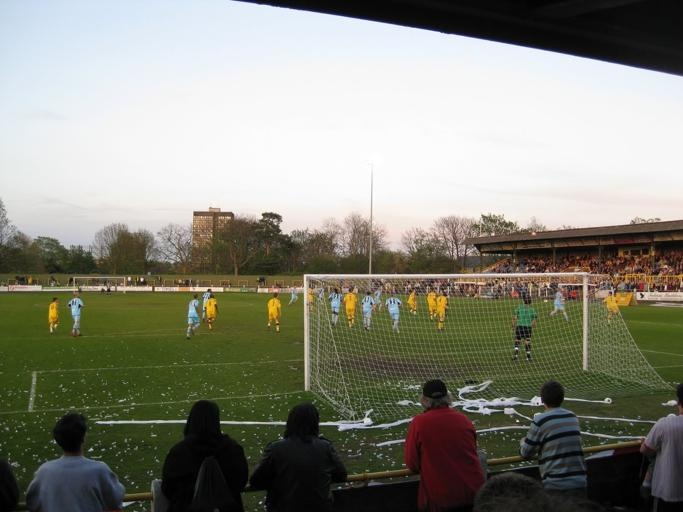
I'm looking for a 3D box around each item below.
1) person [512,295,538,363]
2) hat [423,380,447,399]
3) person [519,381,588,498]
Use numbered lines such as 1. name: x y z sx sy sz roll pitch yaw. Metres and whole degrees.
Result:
1. person: 4.483 1.742 16.795 0.510 1.626 1.005 -1 -4 15
2. hat: 0.874 1.214 6.394 0.159 0.110 0.199 -1 12 3
3. person: 1.999 1.694 6.445 0.513 1.021 0.466 3 -4 -34
